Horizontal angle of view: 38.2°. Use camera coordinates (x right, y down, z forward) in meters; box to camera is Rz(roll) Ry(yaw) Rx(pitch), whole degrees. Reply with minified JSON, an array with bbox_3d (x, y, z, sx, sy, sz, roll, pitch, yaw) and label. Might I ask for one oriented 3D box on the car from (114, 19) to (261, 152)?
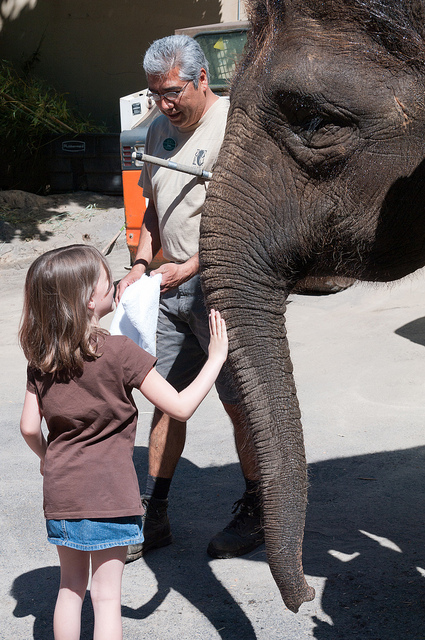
[{"bbox_3d":[-0.126,-2.708,7.102,1.788,0.881,1.001,-15,14,1],"label":"car"}]
